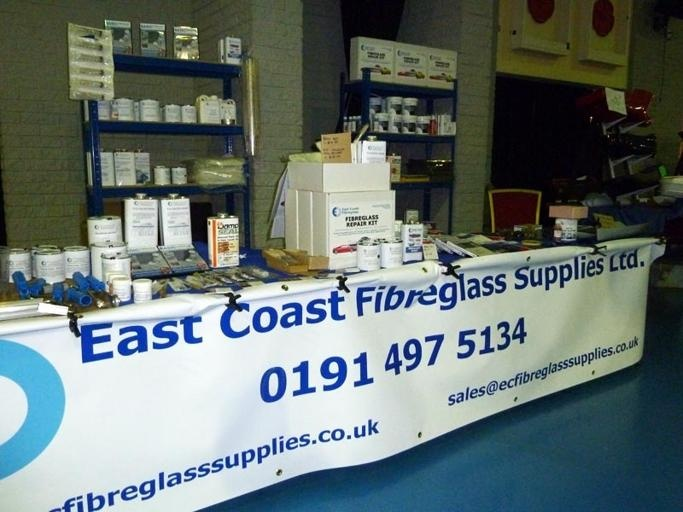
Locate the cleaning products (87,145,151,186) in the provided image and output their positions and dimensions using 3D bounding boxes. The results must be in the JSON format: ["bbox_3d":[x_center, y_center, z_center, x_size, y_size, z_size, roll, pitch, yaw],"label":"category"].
[{"bbox_3d":[-1.705,-0.696,4.400,0.386,0.288,0.151,-10,10,-29],"label":"cleaning products"}]

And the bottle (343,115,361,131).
[{"bbox_3d":[0.106,-1.306,5.484,0.149,0.171,0.308,-6,9,-5],"label":"bottle"}]

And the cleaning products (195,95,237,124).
[{"bbox_3d":[-1.042,-1.202,4.591,0.329,0.247,0.167,-10,18,-41],"label":"cleaning products"}]

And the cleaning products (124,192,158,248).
[{"bbox_3d":[-1.027,-0.191,2.840,0.174,0.263,0.187,15,16,42],"label":"cleaning products"}]

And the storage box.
[{"bbox_3d":[-0.026,-0.209,3.021,0.675,0.725,0.520,2,-2,-31],"label":"storage box"}]

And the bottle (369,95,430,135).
[{"bbox_3d":[0.571,-1.388,5.560,0.545,0.319,0.417,3,10,10],"label":"bottle"}]
